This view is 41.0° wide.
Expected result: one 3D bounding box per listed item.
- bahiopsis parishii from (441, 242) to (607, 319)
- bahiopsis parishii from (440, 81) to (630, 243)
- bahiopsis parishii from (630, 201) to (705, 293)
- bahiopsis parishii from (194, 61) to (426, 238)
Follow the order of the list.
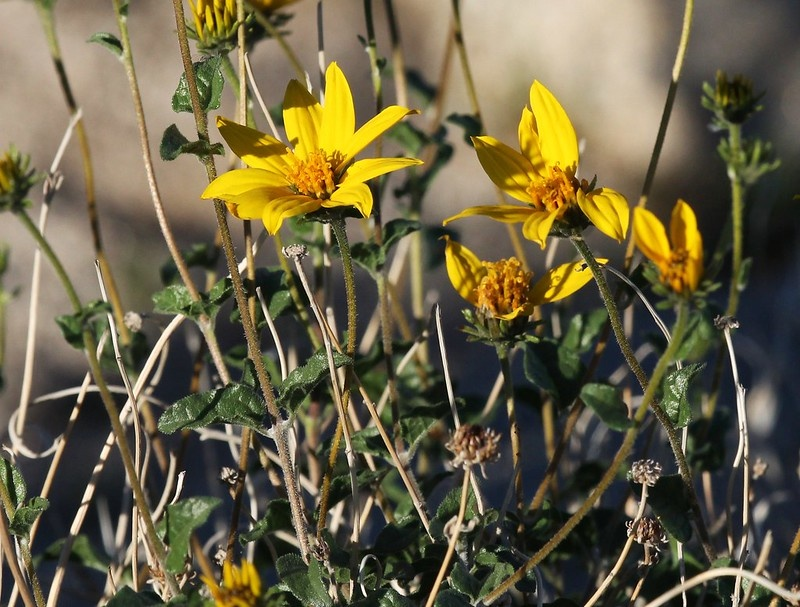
[{"bbox_3d":[0.136,-0.022,1.311,0.115,0.053,0.121,22,-12,-20],"label":"bahiopsis parishii"},{"bbox_3d":[0.175,-0.172,1.273,0.182,0.184,0.241,-2,12,13],"label":"bahiopsis parishii"},{"bbox_3d":[0.319,-0.074,1.276,0.089,0.052,0.101,11,-19,-20],"label":"bahiopsis parishii"},{"bbox_3d":[-0.079,-0.140,1.299,0.247,0.088,0.264,-38,2,43],"label":"bahiopsis parishii"}]
